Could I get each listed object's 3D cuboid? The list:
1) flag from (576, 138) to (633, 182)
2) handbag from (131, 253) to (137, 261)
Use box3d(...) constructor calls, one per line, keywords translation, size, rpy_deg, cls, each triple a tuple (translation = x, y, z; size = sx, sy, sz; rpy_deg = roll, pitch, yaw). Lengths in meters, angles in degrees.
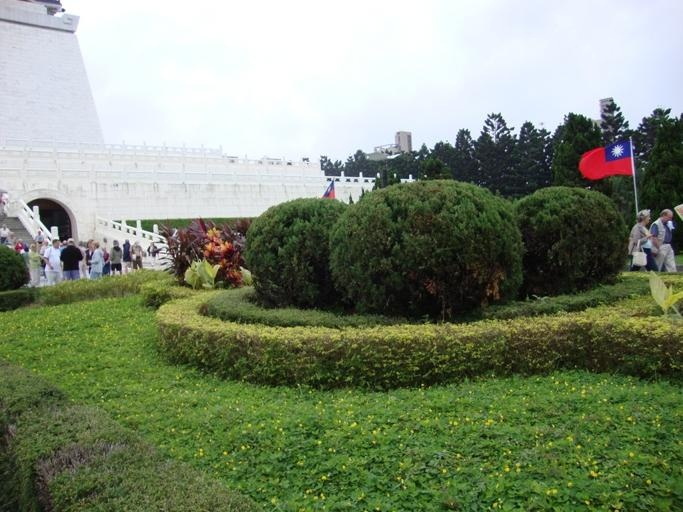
box3d(translation=(7.453, -2.676, 14.442), size=(0.618, 0.915, 1.517), rpy_deg=(-10, 13, -24), cls="flag")
box3d(translation=(-6.976, 0.045, 17.501), size=(0.320, 0.228, 0.046), rpy_deg=(7, 15, 44), cls="handbag")
